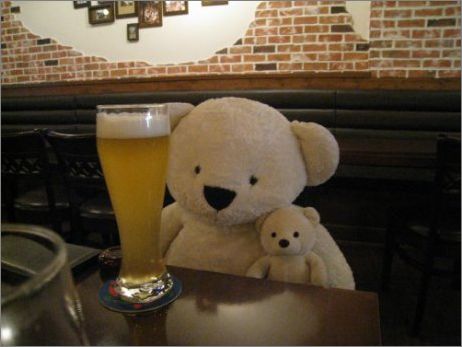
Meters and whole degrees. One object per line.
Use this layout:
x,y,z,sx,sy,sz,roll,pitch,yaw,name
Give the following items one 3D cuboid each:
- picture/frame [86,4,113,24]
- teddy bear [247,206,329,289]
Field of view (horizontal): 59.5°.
-1.263,-1.539,3.889,0.289,0.177,0.052,9,28,16,picture/frame
0.201,0.211,1.350,0.286,0.339,0.225,0,5,16,teddy bear
